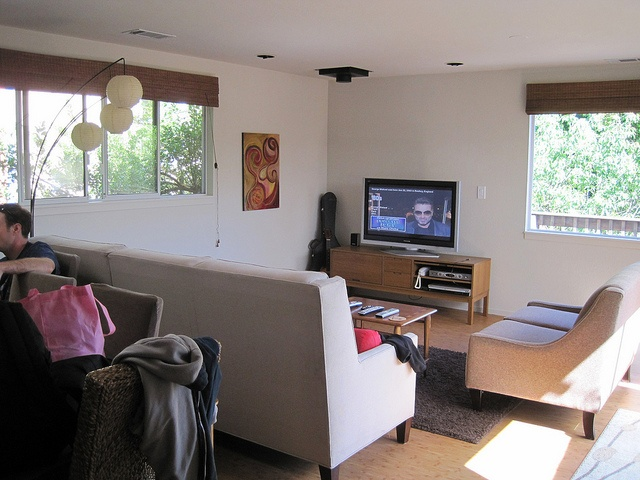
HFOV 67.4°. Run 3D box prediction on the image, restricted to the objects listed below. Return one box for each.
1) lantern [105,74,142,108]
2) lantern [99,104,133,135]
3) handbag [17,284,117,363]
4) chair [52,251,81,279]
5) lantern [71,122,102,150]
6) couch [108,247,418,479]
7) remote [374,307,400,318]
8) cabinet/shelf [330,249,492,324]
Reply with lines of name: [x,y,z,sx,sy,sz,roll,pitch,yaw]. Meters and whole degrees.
lantern: [-1.462,-1.087,3.653,0.234,0.272,0.239,4,23,46]
lantern: [-1.629,-0.970,3.839,0.259,0.220,0.174,6,11,31]
handbag: [-1.233,0.398,2.333,0.348,0.270,0.360,-23,-1,-41]
chair: [-1.798,0.170,3.499,0.180,0.208,0.199,6,2,20]
lantern: [-1.927,-0.842,4.017,0.219,0.257,0.224,-4,-5,-18]
couch: [-0.217,0.680,3.144,1.946,1.434,1.101,3,6,40]
remote: [0.596,0.632,4.179,0.071,0.027,0.244,8,13,33]
cabinet/shelf: [1.108,0.520,6.170,1.885,0.652,0.538,4,4,36]
